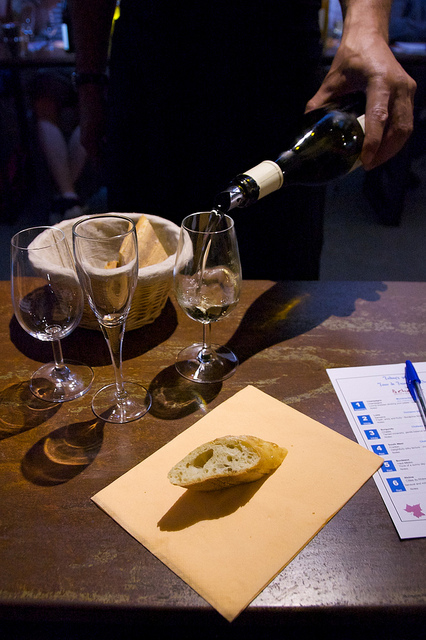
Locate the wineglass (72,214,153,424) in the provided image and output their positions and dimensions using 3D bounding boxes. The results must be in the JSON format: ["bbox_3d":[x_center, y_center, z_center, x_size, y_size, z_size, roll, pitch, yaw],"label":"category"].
[{"bbox_3d":[-0.111,0.022,0.692,0.093,0.301,0.092,-3,29,-9],"label":"wineglass"}]

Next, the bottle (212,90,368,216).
[{"bbox_3d":[0.132,-0.251,0.803,0.168,0.133,0.397,9,30,13],"label":"bottle"}]
